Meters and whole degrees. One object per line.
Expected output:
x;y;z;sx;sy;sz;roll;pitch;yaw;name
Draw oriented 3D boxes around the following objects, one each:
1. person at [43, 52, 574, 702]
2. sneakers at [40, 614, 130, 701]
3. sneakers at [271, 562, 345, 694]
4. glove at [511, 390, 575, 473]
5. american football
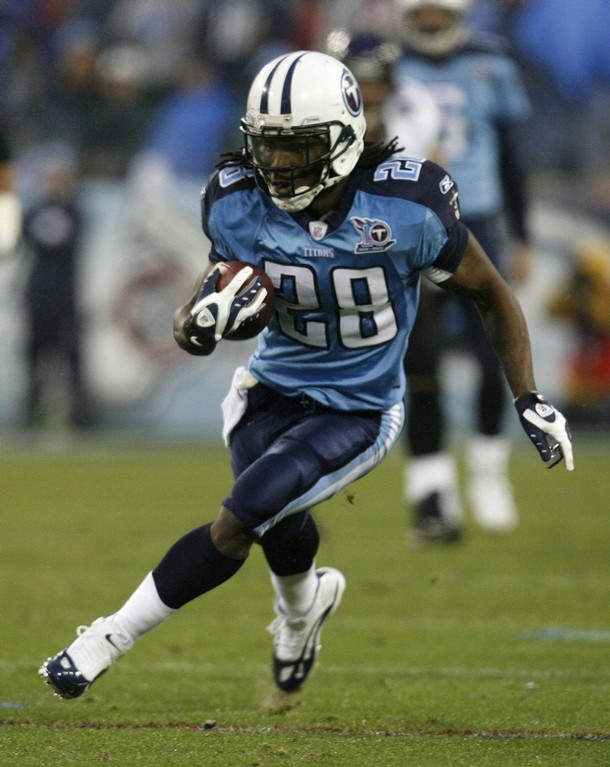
-0.116;0.003;2.518;1.151;1.517;0.861;-18;38;-24;person
-0.472;0.593;2.183;0.148;0.084;0.211;43;57;16;sneakers
-0.006;0.653;2.709;0.136;0.339;0.168;14;-6;41;sneakers
0.564;0.110;2.314;0.192;0.120;0.075;55;20;17;glove
-0.158;-0.168;2.257;0.150;0.179;0.176;6;33;10;american football
